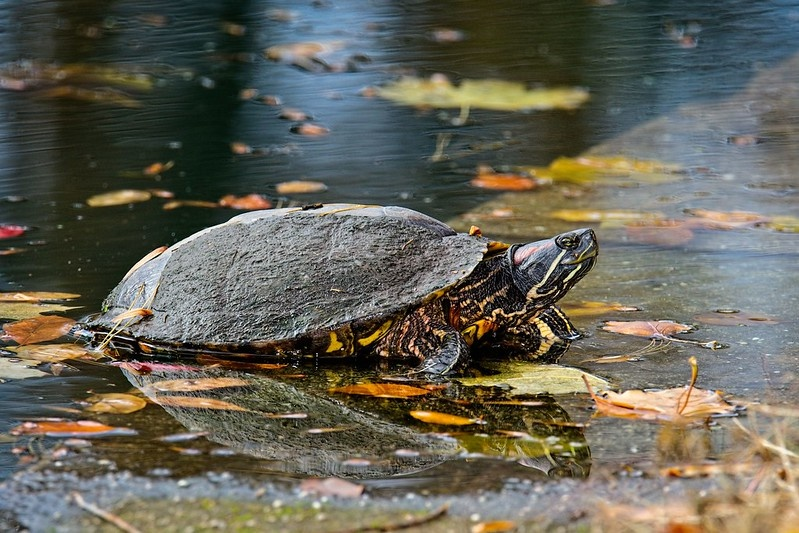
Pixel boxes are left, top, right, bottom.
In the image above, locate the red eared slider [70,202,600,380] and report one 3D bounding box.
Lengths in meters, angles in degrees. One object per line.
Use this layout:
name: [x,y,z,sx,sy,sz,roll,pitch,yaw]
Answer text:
red eared slider: [-0.447,0.157,7.230,4.441,0.527,1.719,0,5,10]
